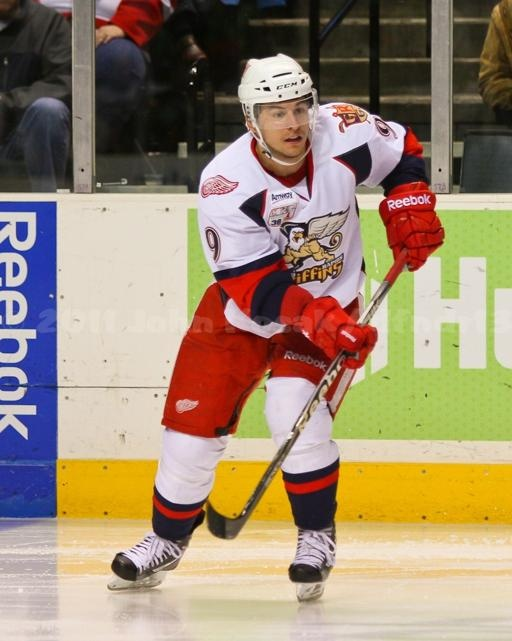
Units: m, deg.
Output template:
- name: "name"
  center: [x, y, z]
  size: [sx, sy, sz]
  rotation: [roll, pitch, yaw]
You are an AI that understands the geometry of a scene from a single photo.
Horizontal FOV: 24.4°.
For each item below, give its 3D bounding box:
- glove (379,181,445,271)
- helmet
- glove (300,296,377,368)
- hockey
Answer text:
- name: "glove"
  center: [0.434, -0.257, 3.300]
  size: [0.206, 0.224, 0.119]
  rotation: [-14, -8, 27]
- name: "helmet"
  center: [0.041, -0.591, 3.096]
  size: [0.203, 0.192, 0.224]
  rotation: [-16, 12, -11]
- name: "glove"
  center: [0.223, 0.039, 3.026]
  size: [0.192, 0.191, 0.134]
  rotation: [-9, 12, -43]
- name: "hockey"
  center: [0.161, 0.224, 3.433]
  size: [0.178, 1.118, 0.199]
  rotation: [25, 19, -53]
